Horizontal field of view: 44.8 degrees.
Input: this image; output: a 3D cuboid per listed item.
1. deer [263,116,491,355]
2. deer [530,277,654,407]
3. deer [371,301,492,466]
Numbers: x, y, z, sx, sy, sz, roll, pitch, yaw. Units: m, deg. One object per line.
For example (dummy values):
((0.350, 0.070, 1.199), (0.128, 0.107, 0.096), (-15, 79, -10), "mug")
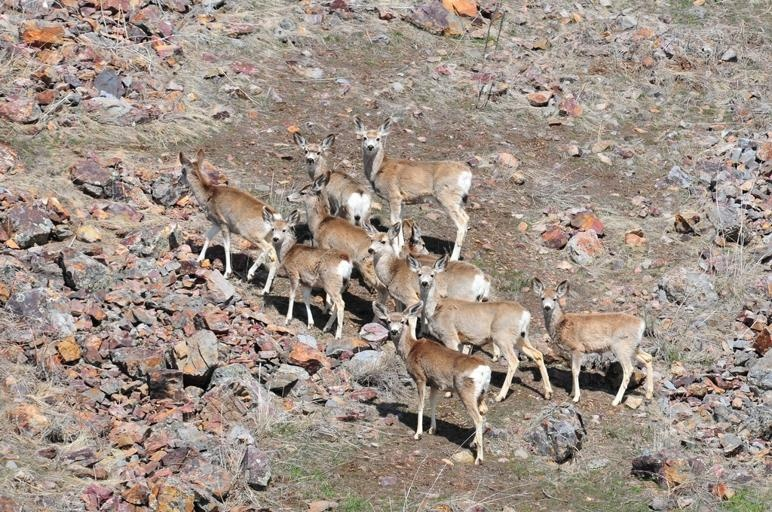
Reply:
((0.317, -1.269, 20.819), (6.565, 4.853, 2.274), (15, 29, 30), "deer")
((3.281, 1.561, 17.554), (3.481, 1.298, 2.678), (1, 91, 13), "deer")
((0.977, 2.097, 16.358), (1.191, 1.599, 2.996), (-13, 57, -15), "deer")
